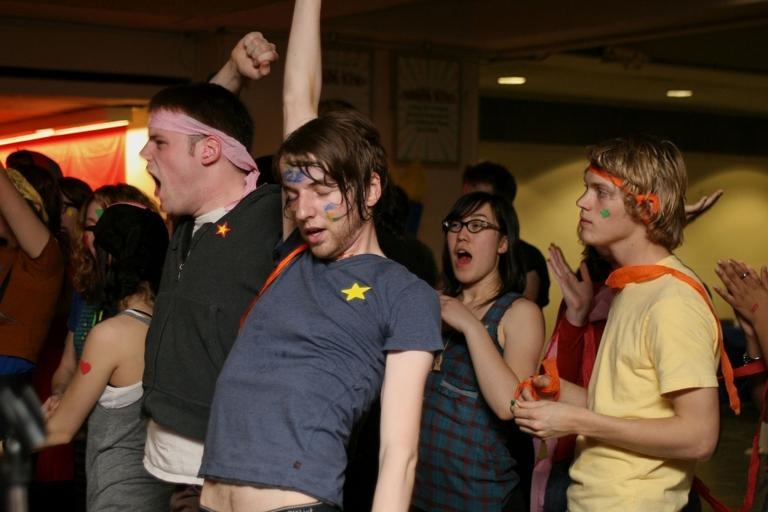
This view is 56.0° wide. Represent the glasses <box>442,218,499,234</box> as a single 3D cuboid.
[{"bbox_3d":[0.443,-0.157,3.729,0.293,0.076,0.098,3,2,28],"label":"glasses"}]

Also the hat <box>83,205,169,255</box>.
[{"bbox_3d":[-1.289,-0.094,3.504,0.455,0.233,0.319,3,-6,11],"label":"hat"}]
